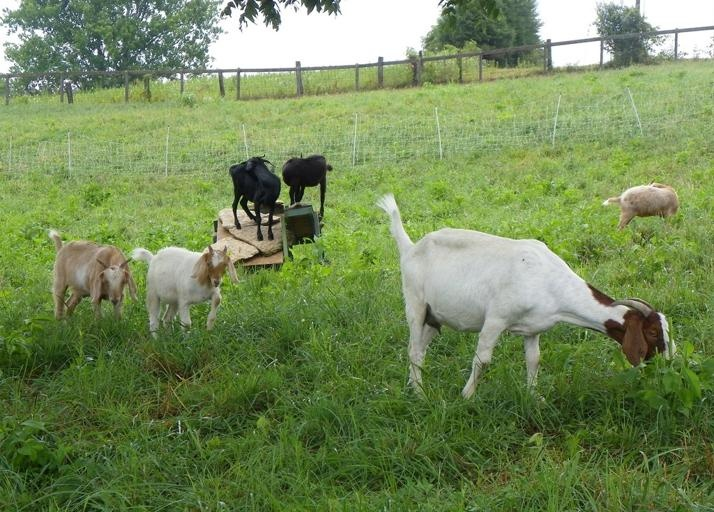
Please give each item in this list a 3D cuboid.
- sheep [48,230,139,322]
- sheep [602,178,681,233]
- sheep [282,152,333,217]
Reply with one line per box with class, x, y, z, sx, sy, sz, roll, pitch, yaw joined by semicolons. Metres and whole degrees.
sheep;-3.399;0.324;8.193;1.798;1.089;0.510;6;8;43
sheep;5.075;-0.795;11.101;1.399;0.861;0.432;-2;20;11
sheep;-0.975;-1.370;12.957;0.572;1.233;1.145;5;15;32
